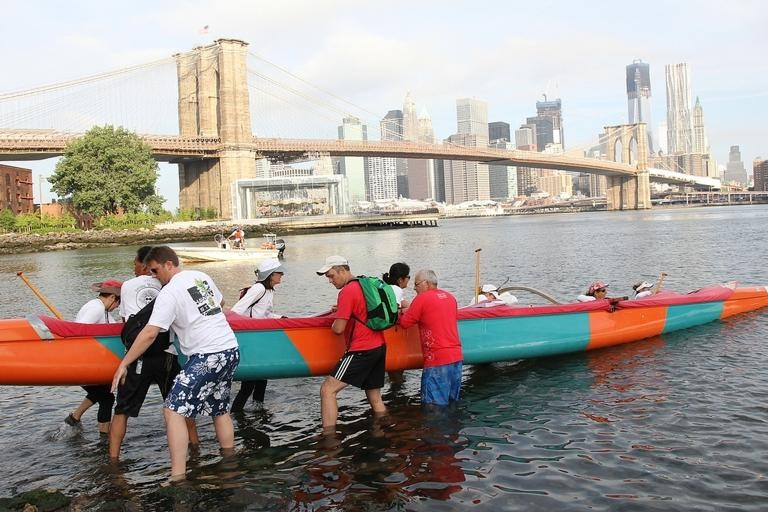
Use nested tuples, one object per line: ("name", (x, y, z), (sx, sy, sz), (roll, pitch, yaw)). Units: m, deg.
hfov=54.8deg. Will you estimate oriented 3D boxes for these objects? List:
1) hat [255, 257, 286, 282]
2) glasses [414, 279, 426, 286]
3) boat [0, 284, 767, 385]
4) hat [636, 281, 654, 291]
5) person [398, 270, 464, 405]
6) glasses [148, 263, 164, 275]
("hat", (-1.481, 0.193, 9.633), (0.366, 0.279, 0.526), (-5, 4, -9))
("glasses", (0.454, 0.336, 9.206), (0.118, 0.023, 0.093), (17, 6, 2))
("boat", (0.467, 1.121, 9.986), (11.862, 0.701, 1.690), (-2, -1, -20))
("hat", (4.600, 0.549, 12.819), (0.341, 0.076, 0.169), (-13, 5, -2))
("person", (0.611, 1.058, 9.288), (0.719, 1.769, 0.366), (-7, 6, 2))
("glasses", (-2.492, 0.151, 8.144), (0.168, 0.113, 0.054), (-10, -7, 28))
